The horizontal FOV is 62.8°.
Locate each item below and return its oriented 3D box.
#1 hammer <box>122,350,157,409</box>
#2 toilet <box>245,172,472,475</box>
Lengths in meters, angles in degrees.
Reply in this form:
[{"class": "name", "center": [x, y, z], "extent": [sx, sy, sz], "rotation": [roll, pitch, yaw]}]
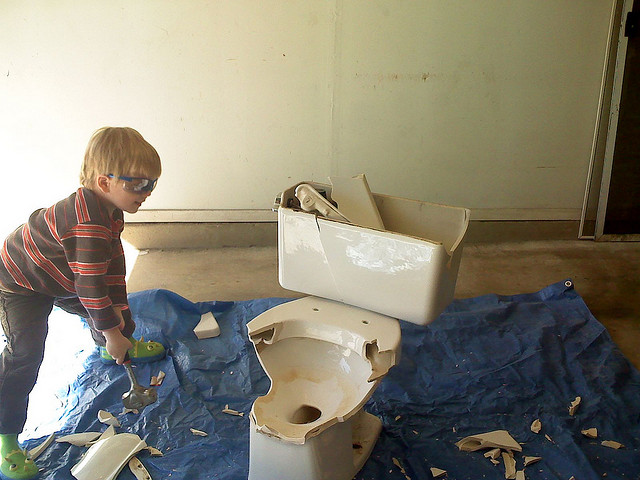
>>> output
[{"class": "hammer", "center": [-0.911, 0.677, 2.638], "extent": [0.166, 0.280, 0.168], "rotation": [-2, 13, -19]}, {"class": "toilet", "center": [0.191, 0.443, 2.441], "extent": [0.869, 1.161, 0.959], "rotation": [22, 45, 26]}]
